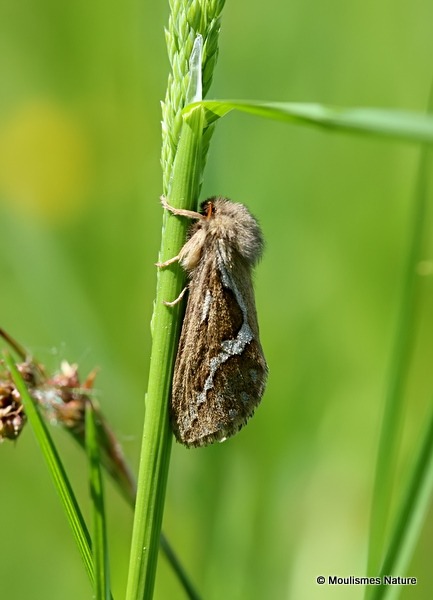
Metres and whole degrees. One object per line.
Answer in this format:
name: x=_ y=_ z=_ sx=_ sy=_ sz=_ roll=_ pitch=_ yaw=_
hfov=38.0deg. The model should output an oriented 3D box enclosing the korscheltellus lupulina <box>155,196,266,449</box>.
korscheltellus lupulina: x=-0.016 y=0.107 z=1.522 sx=0.136 sy=0.465 sz=0.274 roll=-16 pitch=-17 yaw=31
